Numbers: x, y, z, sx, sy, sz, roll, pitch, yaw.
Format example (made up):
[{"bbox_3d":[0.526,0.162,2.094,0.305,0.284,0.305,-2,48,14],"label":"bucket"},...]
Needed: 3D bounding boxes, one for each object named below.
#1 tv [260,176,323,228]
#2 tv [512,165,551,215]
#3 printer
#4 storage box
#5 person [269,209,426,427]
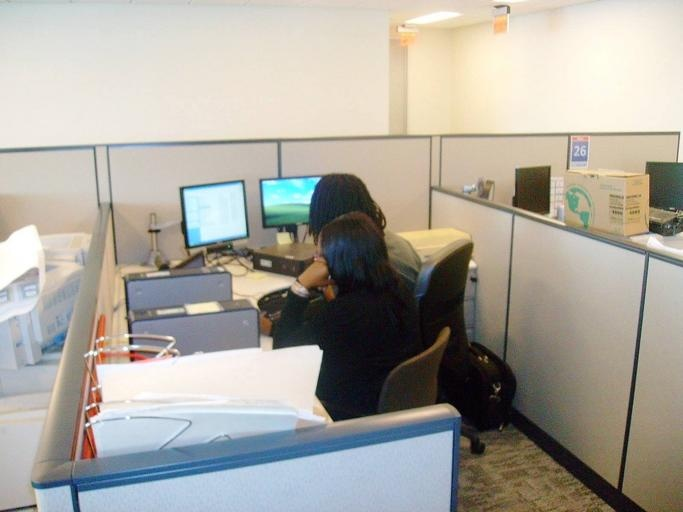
[{"bbox_3d":[-0.311,-0.332,3.259,0.343,0.263,0.035,-5,10,-23],"label":"tv"},{"bbox_3d":[1.227,-0.416,3.446,0.328,0.383,0.052,-7,15,-29],"label":"tv"},{"bbox_3d":[0.542,-0.091,3.067,0.359,0.090,0.269,-7,18,-16],"label":"printer"},{"bbox_3d":[1.194,-0.233,2.417,0.131,0.198,0.256,-7,15,-29],"label":"storage box"},{"bbox_3d":[0.028,0.238,1.985,0.446,1.013,0.517,-20,33,-40],"label":"person"}]
